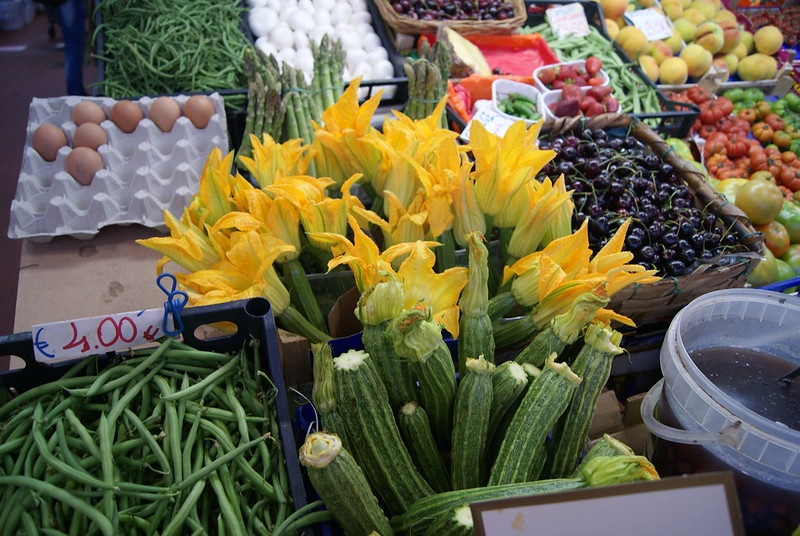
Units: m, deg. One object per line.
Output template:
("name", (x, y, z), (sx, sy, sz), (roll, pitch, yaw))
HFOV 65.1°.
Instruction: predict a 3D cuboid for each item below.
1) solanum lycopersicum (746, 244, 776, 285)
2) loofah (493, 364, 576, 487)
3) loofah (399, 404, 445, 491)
("solanum lycopersicum", (2.344, -0.023, 4.077), (0.186, 0.210, 0.201), (8, 17, 40))
("loofah", (0.608, 0.691, 2.788), (0.136, 0.542, 0.143), (31, 4, 6))
("loofah", (0.122, 0.830, 2.890), (0.164, 0.431, 0.192), (-14, 30, -23))
